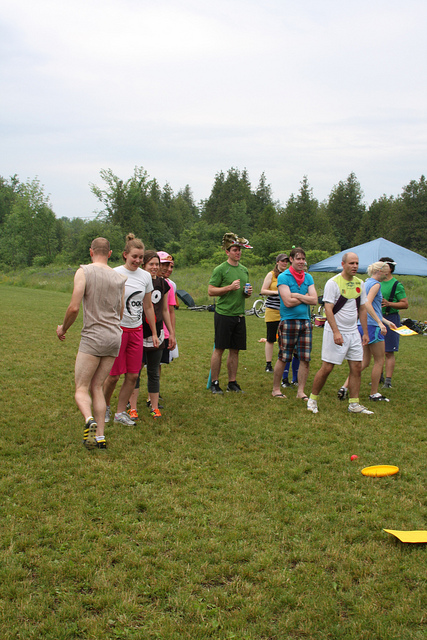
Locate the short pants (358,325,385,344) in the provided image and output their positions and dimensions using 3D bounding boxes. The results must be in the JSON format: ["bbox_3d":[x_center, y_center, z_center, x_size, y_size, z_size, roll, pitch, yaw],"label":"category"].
[{"bbox_3d":[2.063,0.187,7.603,0.403,0.274,0.214,-1,-3,23],"label":"short pants"}]

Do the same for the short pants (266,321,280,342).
[{"bbox_3d":[0.929,0.173,8.932,0.245,0.399,0.332,1,4,11],"label":"short pants"}]

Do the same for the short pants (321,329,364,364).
[{"bbox_3d":[1.491,0.342,6.771,0.591,0.443,0.347,0,-3,-17],"label":"short pants"}]

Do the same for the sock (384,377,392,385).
[{"bbox_3d":[2.574,0.895,8.538,0.081,0.118,0.086,3,-5,21],"label":"sock"}]

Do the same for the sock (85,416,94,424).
[{"bbox_3d":[-1.043,0.851,4.918,0.034,0.059,0.022,13,19,-17],"label":"sock"}]

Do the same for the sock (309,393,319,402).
[{"bbox_3d":[1.205,0.931,6.962,0.091,0.133,0.198,3,7,7],"label":"sock"}]

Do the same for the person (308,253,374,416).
[{"bbox_3d":[1.593,0.164,6.990,0.757,1.900,1.164,4,7,11],"label":"person"}]

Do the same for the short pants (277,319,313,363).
[{"bbox_3d":[1.038,0.280,7.390,0.408,0.578,0.210,3,7,4],"label":"short pants"}]

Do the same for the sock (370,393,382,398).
[{"bbox_3d":[2.161,1.007,7.692,0.149,0.064,0.049,-7,10,-9],"label":"sock"}]

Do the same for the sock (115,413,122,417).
[{"bbox_3d":[-0.990,0.994,6.050,0.040,0.044,0.050,4,-16,-13],"label":"sock"}]

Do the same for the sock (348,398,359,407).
[{"bbox_3d":[1.671,0.988,6.877,0.099,0.078,0.098,-1,0,13],"label":"sock"}]

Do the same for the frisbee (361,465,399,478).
[{"bbox_3d":[1.399,1.269,4.869,0.347,0.052,0.191,-3,8,-37],"label":"frisbee"}]

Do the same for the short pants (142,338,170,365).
[{"bbox_3d":[-0.614,0.323,6.854,0.438,0.433,0.257,0,-1,-5],"label":"short pants"}]

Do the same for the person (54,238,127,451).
[{"bbox_3d":[-1.085,0.206,5.154,0.460,1.834,0.636,4,7,11],"label":"person"}]

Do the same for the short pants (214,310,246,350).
[{"bbox_3d":[0.221,0.134,7.452,0.504,0.461,0.286,3,-5,-41],"label":"short pants"}]

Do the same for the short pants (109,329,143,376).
[{"bbox_3d":[-0.838,0.331,5.806,0.126,0.445,0.449,8,9,37],"label":"short pants"}]
